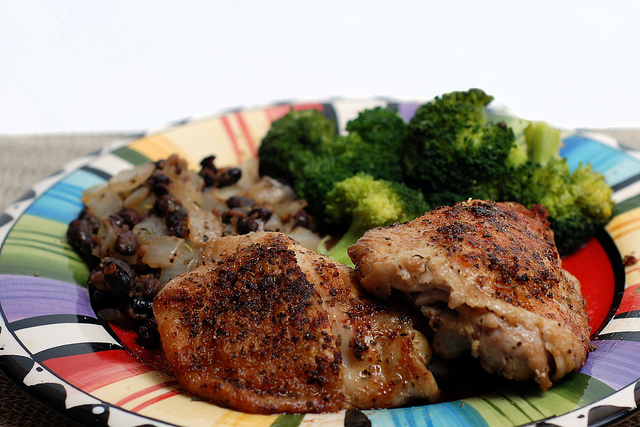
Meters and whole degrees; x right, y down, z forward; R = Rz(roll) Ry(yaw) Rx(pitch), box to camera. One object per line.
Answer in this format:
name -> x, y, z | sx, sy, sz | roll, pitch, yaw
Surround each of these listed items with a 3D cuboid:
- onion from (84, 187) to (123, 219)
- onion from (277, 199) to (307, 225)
onion -> -1.574, -0.069, 3.963 | 0.238, 0.071, 0.234 | -40, 82, -3
onion -> -0.217, -0.019, 4.258 | 0.163, 0.070, 0.286 | 35, 59, 21
